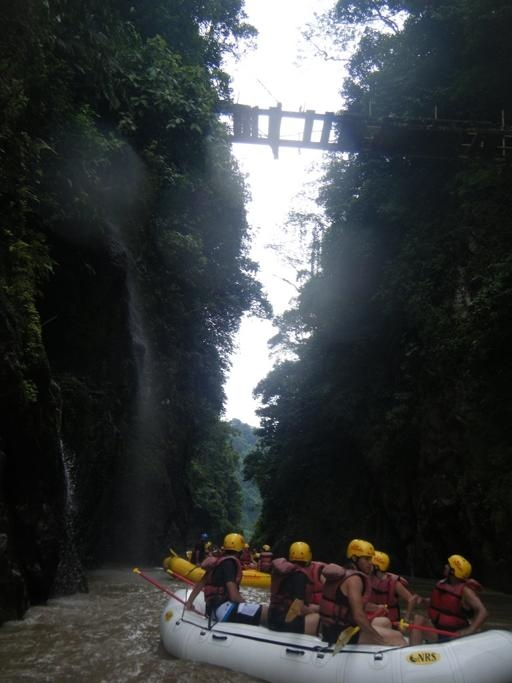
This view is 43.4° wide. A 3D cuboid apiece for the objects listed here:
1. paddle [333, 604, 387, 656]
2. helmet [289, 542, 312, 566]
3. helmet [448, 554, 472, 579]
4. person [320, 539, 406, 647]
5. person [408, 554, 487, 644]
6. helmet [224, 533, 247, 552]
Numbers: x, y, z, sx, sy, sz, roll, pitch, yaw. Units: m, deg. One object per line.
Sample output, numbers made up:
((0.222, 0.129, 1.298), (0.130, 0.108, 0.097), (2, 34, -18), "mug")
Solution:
((1.160, 3.225, 7.265), (0.415, 0.541, 0.860), (-5, -25, 27), "paddle")
((0.568, 2.588, 8.000), (0.233, 0.267, 0.334), (-2, -29, 16), "helmet")
((2.348, 2.577, 7.404), (0.236, 0.255, 0.303), (0, -22, 16), "helmet")
((1.242, 2.932, 7.264), (0.909, 1.360, 0.777), (8, -12, -1), "person")
((2.188, 3.155, 7.461), (0.757, 1.387, 0.776), (9, -13, 7), "person")
((-0.259, 2.594, 8.431), (0.230, 0.259, 0.320), (7, 7, 2), "helmet")
